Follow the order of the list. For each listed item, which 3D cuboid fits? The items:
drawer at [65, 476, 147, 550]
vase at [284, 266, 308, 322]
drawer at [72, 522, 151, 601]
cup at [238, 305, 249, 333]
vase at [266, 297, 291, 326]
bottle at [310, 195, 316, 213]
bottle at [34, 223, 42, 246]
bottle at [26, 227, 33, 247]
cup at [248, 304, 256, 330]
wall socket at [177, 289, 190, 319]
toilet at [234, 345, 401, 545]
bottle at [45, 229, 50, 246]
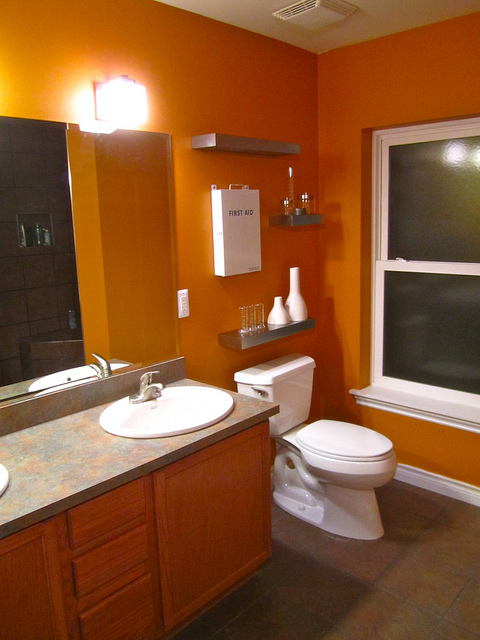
[{"bbox_3d":[-0.322,0.553,1.375,0.241,0.166,0.117,-27,46,3],"label":"drawer"},{"bbox_3d":[0.287,-0.136,2.669,0.093,0.281,0.157,-7,9,-33],"label":"vase"},{"bbox_3d":[-0.339,0.591,1.329,0.110,0.140,0.224,3,14,38],"label":"drawer"},{"bbox_3d":[0.017,-0.006,2.440,0.057,0.116,0.153,-2,8,0],"label":"cup"},{"bbox_3d":[0.196,-0.048,2.628,0.125,0.137,0.126,-10,14,-32],"label":"vase"},{"bbox_3d":[0.415,-0.661,2.856,0.033,0.102,0.120,-1,8,9],"label":"bottle"},{"bbox_3d":[-0.650,-0.276,1.616,0.011,0.067,0.028,2,9,32],"label":"bottle"},{"bbox_3d":[-0.669,-0.262,1.593,0.011,0.060,0.021,5,10,43],"label":"bottle"},{"bbox_3d":[0.055,-0.022,2.497,0.033,0.100,0.077,-2,8,1],"label":"cup"},{"bbox_3d":[-0.244,-0.070,2.175,0.018,0.124,0.073,2,9,32],"label":"wall socket"},{"bbox_3d":[0.491,0.536,2.656,0.872,0.879,0.663,9,18,41],"label":"toilet"},{"bbox_3d":[-0.633,-0.268,1.646,0.008,0.050,0.017,1,8,26],"label":"bottle"}]
